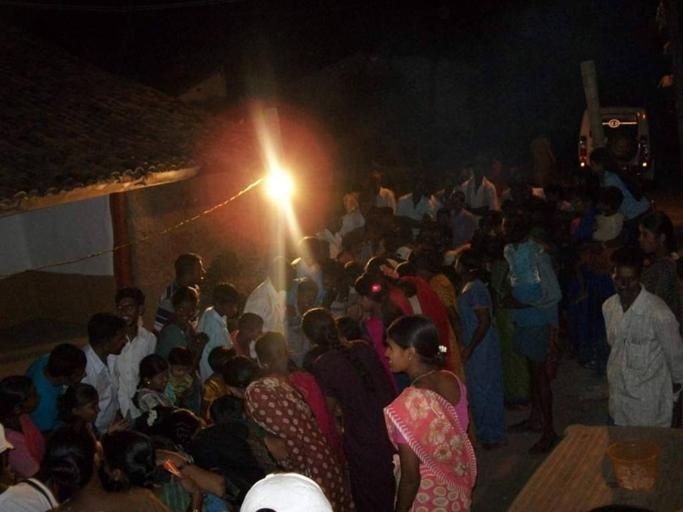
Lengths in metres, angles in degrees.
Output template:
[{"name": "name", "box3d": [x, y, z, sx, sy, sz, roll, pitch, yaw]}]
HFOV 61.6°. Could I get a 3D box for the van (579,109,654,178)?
[{"name": "van", "box3d": [9.887, -3.556, 21.119, 2.437, 2.664, 4.723, 4, 8, 21]}]
